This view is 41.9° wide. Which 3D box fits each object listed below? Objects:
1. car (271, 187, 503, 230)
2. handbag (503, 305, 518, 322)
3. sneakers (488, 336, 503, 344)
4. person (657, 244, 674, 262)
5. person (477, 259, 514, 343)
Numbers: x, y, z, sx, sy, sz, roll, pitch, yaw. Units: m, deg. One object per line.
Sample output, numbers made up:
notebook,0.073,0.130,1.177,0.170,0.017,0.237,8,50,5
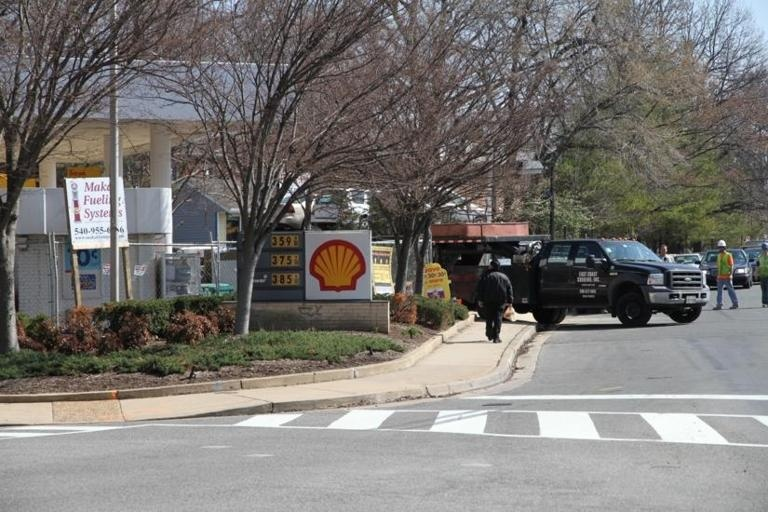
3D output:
car,0.231,-1.544,32.251,7.777,1.725,1.923,-3,6,-10
handbag,4.051,1.775,31.970,0.526,0.261,0.700,5,8,5
sneakers,2.906,2.166,25.951,0.371,0.174,0.141,-6,-4,44
person,12.986,-0.191,45.926,0.565,0.976,1.078,-11,4,31
person,2.953,1.178,26.378,0.960,1.809,0.794,-3,-2,-39
